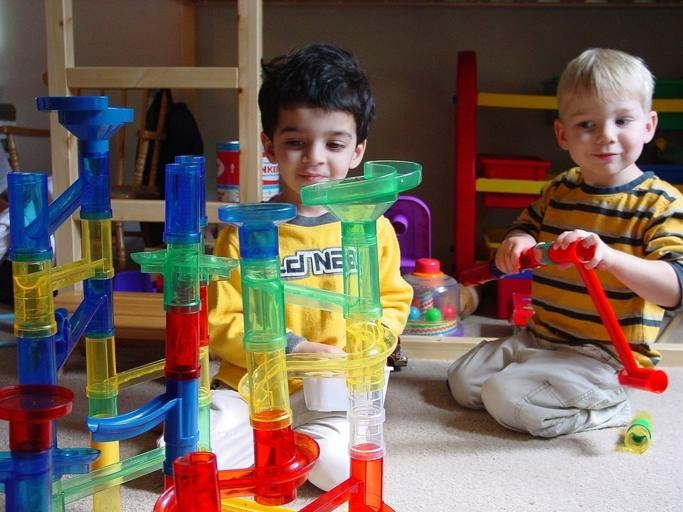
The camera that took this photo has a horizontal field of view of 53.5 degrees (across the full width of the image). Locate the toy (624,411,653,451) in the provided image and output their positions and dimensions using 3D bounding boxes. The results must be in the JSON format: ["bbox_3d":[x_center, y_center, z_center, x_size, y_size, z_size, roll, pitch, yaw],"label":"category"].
[{"bbox_3d":[0.624,0.369,1.423,0.051,0.052,0.105,8,16,32],"label":"toy"}]
